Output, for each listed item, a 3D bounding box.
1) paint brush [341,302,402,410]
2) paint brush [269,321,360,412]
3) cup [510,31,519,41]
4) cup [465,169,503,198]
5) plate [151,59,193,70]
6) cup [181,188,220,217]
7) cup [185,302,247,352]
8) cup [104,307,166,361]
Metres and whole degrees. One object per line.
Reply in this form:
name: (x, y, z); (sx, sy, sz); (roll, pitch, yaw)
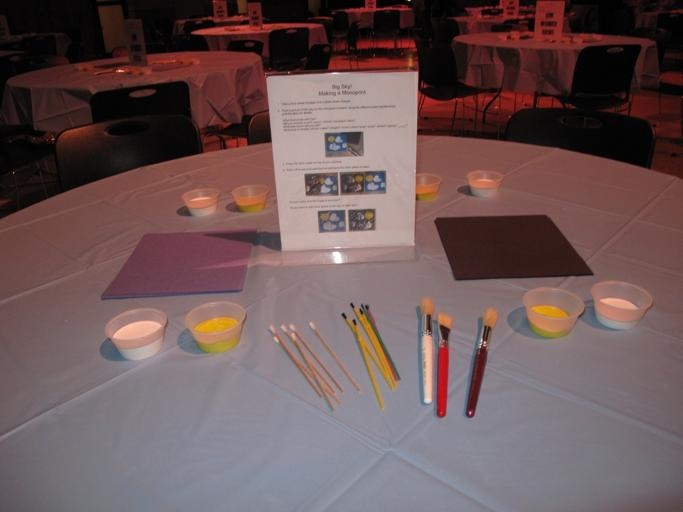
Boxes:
paint brush: (0.051, 0.164, 0.874); (0.051, 0.015, 0.179); (-3, 33, -9)
paint brush: (-0.040, 0.162, 0.820); (0.071, 0.021, 0.227); (-19, 41, -26)
cup: (1.550, -1.984, 4.431); (0.090, 0.058, 0.241); (8, 32, 16)
cup: (0.408, -0.210, 1.409); (0.086, 0.043, 0.075); (3, 38, 10)
plate: (-1.248, -1.414, 3.642); (0.317, 0.018, 0.465); (-9, 31, -13)
cup: (-0.386, -0.150, 1.360); (0.080, 0.045, 0.084); (-1, 32, 0)
cup: (-0.230, 0.128, 0.912); (0.089, 0.047, 0.093); (0, 29, 0)
cup: (-0.370, 0.141, 0.910); (0.094, 0.046, 0.096); (0, 29, 0)
